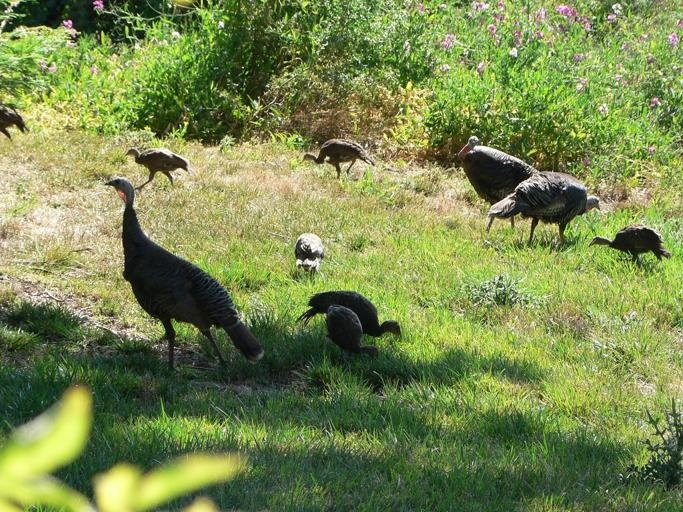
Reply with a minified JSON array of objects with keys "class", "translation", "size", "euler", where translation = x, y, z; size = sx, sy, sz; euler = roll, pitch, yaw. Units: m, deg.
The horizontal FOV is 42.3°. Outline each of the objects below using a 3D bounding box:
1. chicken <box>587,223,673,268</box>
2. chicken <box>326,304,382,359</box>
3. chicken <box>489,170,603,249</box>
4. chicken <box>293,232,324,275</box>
[{"class":"chicken","translation":[3.953,-0.206,12.024],"size":[1.011,0.492,0.348],"euler":[17,16,35]},{"class":"chicken","translation":[0.115,0.825,9.705],"size":[0.635,0.473,0.173],"euler":[13,13,21]},{"class":"chicken","translation":[2.935,-0.675,12.452],"size":[1.751,1.198,0.735],"euler":[-9,21,-21]},{"class":"chicken","translation":[-0.437,-0.061,11.682],"size":[0.412,0.549,0.813],"euler":[6,-4,0]}]
